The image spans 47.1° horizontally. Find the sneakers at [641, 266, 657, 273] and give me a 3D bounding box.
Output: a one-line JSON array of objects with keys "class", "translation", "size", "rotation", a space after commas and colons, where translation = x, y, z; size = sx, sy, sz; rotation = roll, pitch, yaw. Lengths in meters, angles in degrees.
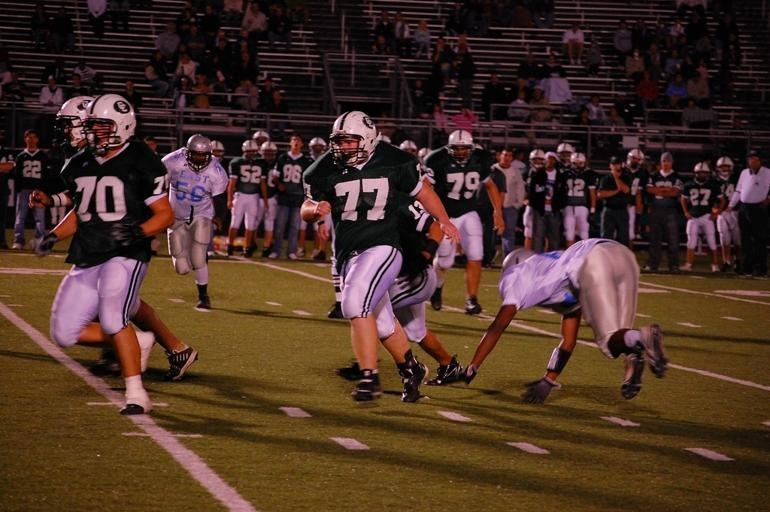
[{"class": "sneakers", "translation": [5.101, 0.268, 17.111], "size": [0.407, 0.139, 0.138], "rotation": [-2, 3, 10]}]

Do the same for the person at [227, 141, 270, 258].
[{"class": "person", "translation": [-2.609, -1.057, 16.524], "size": [0.726, 2.175, 0.848], "rotation": [2, 8, -8]}]

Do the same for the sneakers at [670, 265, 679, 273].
[{"class": "sneakers", "translation": [5.584, 0.258, 17.087], "size": [0.183, 0.156, 0.143], "rotation": [2, -2, 26]}]

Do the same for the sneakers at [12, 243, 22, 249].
[{"class": "sneakers", "translation": [-6.642, -0.168, 15.820], "size": [0.133, 0.082, 0.124], "rotation": [0, 0, 7]}]

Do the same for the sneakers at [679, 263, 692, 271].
[{"class": "sneakers", "translation": [5.883, 0.227, 17.361], "size": [0.124, 0.136, 0.341], "rotation": [-8, 10, 0]}]

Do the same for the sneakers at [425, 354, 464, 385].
[{"class": "sneakers", "translation": [0.481, 1.008, 7.557], "size": [0.457, 0.181, 0.149], "rotation": [-1, -4, -42]}]

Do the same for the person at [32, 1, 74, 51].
[{"class": "person", "translation": [-8.167, -5.536, 21.564], "size": [0.991, 1.078, 0.451], "rotation": [0, 8, -20]}]

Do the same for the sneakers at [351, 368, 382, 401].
[{"class": "sneakers", "translation": [-0.169, 0.989, 6.875], "size": [0.185, 0.213, 0.343], "rotation": [0, 14, 18]}]

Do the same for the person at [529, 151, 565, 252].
[{"class": "person", "translation": [2.951, -0.974, 16.164], "size": [0.672, 1.812, 0.624], "rotation": [4, 8, 8]}]

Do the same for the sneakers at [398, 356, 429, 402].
[{"class": "sneakers", "translation": [0.206, 0.994, 7.053], "size": [0.128, 0.357, 0.274], "rotation": [-1, -24, 41]}]

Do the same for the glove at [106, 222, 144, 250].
[{"class": "glove", "translation": [-1.885, -0.141, 6.408], "size": [0.241, 0.176, 0.220], "rotation": [1, 8, -17]}]

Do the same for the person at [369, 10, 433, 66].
[{"class": "person", "translation": [0.383, -5.731, 23.311], "size": [1.618, 1.385, 0.362], "rotation": [1, 12, -18]}]

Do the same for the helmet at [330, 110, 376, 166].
[{"class": "helmet", "translation": [-0.268, -0.946, 6.985], "size": [0.360, 0.355, 0.466], "rotation": [3, 16, 24]}]

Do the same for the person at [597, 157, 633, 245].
[{"class": "person", "translation": [4.344, -1.024, 16.759], "size": [0.620, 1.678, 1.342], "rotation": [5, 8, 15]}]

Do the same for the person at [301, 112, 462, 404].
[{"class": "person", "translation": [-0.104, 0.000, 6.993], "size": [1.174, 2.238, 0.768], "rotation": [2, 8, -5]}]

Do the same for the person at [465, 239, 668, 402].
[{"class": "person", "translation": [1.522, 0.516, 7.113], "size": [1.066, 1.179, 2.085], "rotation": [9, -11, -30]}]

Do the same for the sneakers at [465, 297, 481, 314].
[{"class": "sneakers", "translation": [1.059, 0.640, 11.066], "size": [0.249, 0.215, 0.142], "rotation": [10, -12, -24]}]

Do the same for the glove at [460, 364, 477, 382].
[{"class": "glove", "translation": [0.638, 0.934, 7.006], "size": [0.098, 0.111, 0.273], "rotation": [14, -11, 10]}]

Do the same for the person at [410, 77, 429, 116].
[{"class": "person", "translation": [0.838, -3.930, 21.991], "size": [0.457, 0.939, 1.329], "rotation": [3, 7, 0]}]

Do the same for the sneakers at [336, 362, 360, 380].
[{"class": "sneakers", "translation": [-0.320, 0.994, 7.644], "size": [0.101, 0.118, 0.280], "rotation": [9, 0, -33]}]

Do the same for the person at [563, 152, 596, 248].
[{"class": "person", "translation": [3.524, -1.043, 16.079], "size": [0.568, 1.621, 0.725], "rotation": [5, 8, 11]}]

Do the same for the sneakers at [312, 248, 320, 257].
[{"class": "sneakers", "translation": [-1.333, -0.046, 16.730], "size": [0.125, 0.122, 0.134], "rotation": [3, -6, -39]}]

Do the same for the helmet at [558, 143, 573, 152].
[{"class": "helmet", "translation": [3.309, -1.984, 16.268], "size": [0.218, 0.203, 0.267], "rotation": [0, 3, -1]}]

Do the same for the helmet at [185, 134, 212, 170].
[{"class": "helmet", "translation": [-2.303, -1.289, 10.865], "size": [0.422, 0.464, 0.536], "rotation": [5, 12, -14]}]

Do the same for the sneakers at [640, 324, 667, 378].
[{"class": "sneakers", "translation": [1.959, 0.693, 6.462], "size": [0.209, 0.428, 0.269], "rotation": [5, 8, 15]}]

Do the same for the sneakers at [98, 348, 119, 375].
[{"class": "sneakers", "translation": [-2.309, 0.884, 7.322], "size": [0.215, 0.096, 0.265], "rotation": [18, 35, -33]}]

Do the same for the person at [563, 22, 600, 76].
[{"class": "person", "translation": [5.632, -5.741, 24.834], "size": [1.116, 1.376, 1.292], "rotation": [9, 9, 37]}]

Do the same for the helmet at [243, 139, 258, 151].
[{"class": "helmet", "translation": [-2.612, -2.084, 16.679], "size": [0.244, 0.254, 0.271], "rotation": [1, -7, 5]}]

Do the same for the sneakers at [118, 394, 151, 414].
[{"class": "sneakers", "translation": [-1.806, 1.065, 6.317], "size": [0.158, 0.084, 0.263], "rotation": [3, 2, -8]}]

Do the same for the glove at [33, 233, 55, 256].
[{"class": "glove", "translation": [-2.666, -0.090, 6.812], "size": [0.104, 0.112, 0.261], "rotation": [22, -39, -22]}]

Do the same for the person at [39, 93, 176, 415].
[{"class": "person", "translation": [-1.998, -0.040, 6.500], "size": [0.945, 2.250, 0.547], "rotation": [7, 9, 27]}]

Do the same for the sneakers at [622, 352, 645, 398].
[{"class": "sneakers", "translation": [1.871, 0.909, 6.670], "size": [0.169, 0.343, 0.137], "rotation": [12, 4, 16]}]

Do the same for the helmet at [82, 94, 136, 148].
[{"class": "helmet", "translation": [-2.058, -1.002, 6.575], "size": [0.426, 0.378, 0.350], "rotation": [-5, 14, -14]}]

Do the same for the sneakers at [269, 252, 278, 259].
[{"class": "sneakers", "translation": [-2.189, -0.002, 16.949], "size": [0.123, 0.078, 0.207], "rotation": [-1, -4, -1]}]

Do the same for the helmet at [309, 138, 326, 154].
[{"class": "helmet", "translation": [-1.232, -1.928, 15.599], "size": [0.313, 0.314, 0.376], "rotation": [-1, 6, -5]}]

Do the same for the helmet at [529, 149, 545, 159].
[{"class": "helmet", "translation": [2.966, -1.978, 17.098], "size": [0.313, 0.121, 0.314], "rotation": [11, 23, 37]}]
